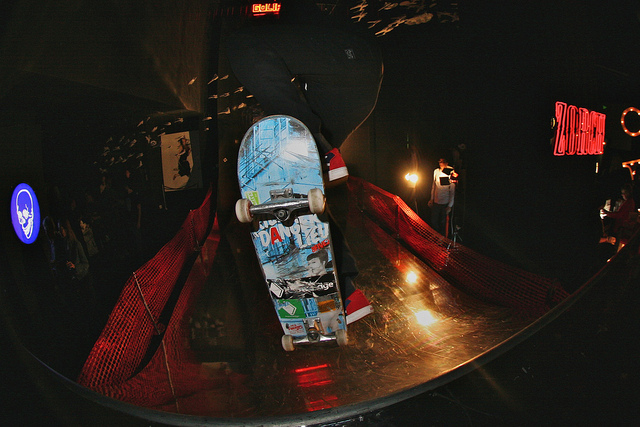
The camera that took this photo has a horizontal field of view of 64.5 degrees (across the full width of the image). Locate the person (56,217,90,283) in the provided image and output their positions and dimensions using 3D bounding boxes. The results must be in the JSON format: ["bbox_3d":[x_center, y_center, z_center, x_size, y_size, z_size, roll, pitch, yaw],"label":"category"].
[{"bbox_3d":[-3.750,0.583,7.875,0.316,1.239,0.178,-16,0,5],"label":"person"}]

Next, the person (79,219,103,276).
[{"bbox_3d":[-3.491,0.467,7.796,0.238,1.061,0.148,-17,-1,9],"label":"person"}]

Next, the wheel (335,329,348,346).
[{"bbox_3d":[0.305,1.739,7.223,0.198,0.213,0.195,-10,10,2],"label":"wheel"}]

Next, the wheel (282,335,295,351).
[{"bbox_3d":[-0.449,1.834,7.299,0.172,0.248,0.241,-13,5,7],"label":"wheel"}]

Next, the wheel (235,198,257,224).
[{"bbox_3d":[-1.020,-0.041,6.913,0.147,0.325,0.314,-8,22,-11],"label":"wheel"}]

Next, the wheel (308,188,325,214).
[{"bbox_3d":[-0.052,-0.156,6.767,0.135,0.263,0.260,-9,-19,13],"label":"wheel"}]
